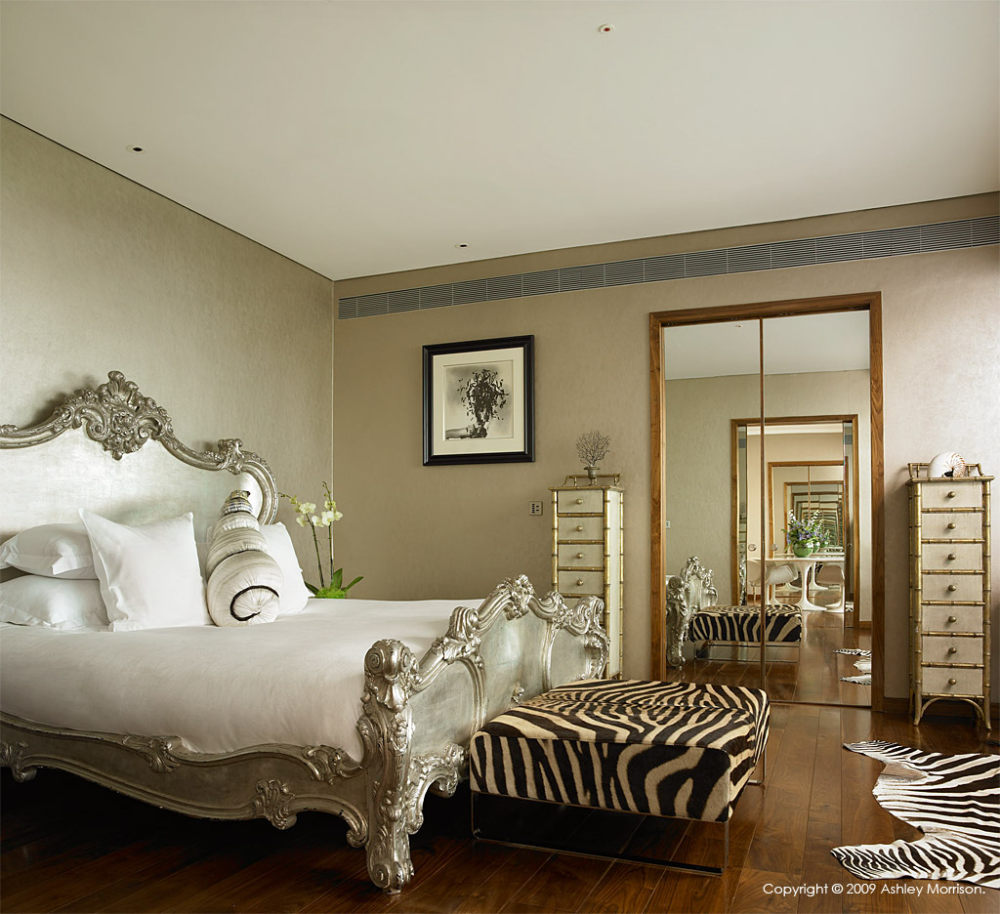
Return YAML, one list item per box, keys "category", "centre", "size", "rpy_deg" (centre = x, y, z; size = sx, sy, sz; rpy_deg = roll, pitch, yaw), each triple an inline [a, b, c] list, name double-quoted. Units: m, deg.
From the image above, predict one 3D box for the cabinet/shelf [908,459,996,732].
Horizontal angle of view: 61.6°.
- category: "cabinet/shelf"
  centre: [2.407, 0.732, 4.556]
  size: [0.411, 1.453, 0.362]
  rpy_deg: [0, 0, 32]

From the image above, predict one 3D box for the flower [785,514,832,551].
- category: "flower"
  centre: [1.941, 0.484, 5.321]
  size: [0.200, 0.282, 0.205]
  rpy_deg: [-4, -9, 41]

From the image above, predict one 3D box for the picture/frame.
- category: "picture/frame"
  centre: [-0.118, -0.393, 5.916]
  size: [0.812, 1.020, 0.069]
  rpy_deg: [-2, -4, 24]

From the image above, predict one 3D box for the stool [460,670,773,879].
- category: "stool"
  centre: [0.439, 1.147, 3.256]
  size: [1.052, 0.446, 1.039]
  rpy_deg: [-1, -2, 19]
